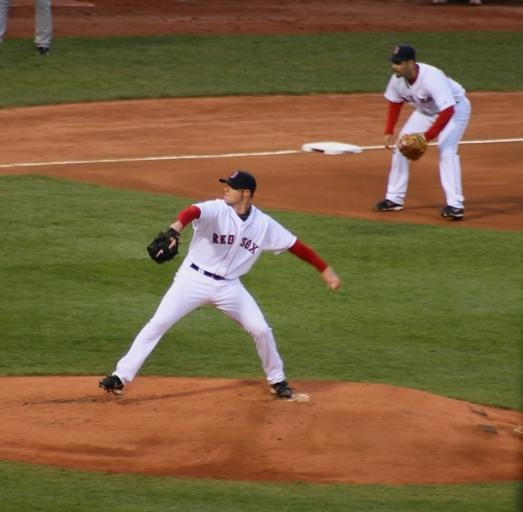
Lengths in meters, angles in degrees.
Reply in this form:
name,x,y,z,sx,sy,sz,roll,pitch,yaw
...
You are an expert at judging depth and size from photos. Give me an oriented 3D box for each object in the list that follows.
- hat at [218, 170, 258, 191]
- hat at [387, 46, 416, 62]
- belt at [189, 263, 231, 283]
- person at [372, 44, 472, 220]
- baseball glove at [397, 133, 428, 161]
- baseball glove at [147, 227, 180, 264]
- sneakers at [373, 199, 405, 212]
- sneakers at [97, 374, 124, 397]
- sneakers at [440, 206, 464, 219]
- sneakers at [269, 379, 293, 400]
name,x,y,z,sx,sy,sz,roll,pitch,yaw
hat,-0.179,-0.627,9.643,0.263,0.125,0.162,18,11,-18
hat,1.587,-2.314,13.268,0.286,0.130,0.187,1,23,-2
belt,-0.441,0.143,9.733,0.195,0.041,0.176,25,-2,-27
person,1.950,-1.439,13.841,1.055,2.224,1.097,3,26,4
baseball glove,1.741,-1.261,13.521,0.314,0.266,0.313,0,34,8
baseball glove,-0.742,-0.085,9.191,0.229,0.292,0.126,41,5,-2
sneakers,1.556,-0.641,14.549,0.383,0.156,0.136,9,18,-19
sneakers,-1.241,1.091,9.823,0.217,0.117,0.158,8,25,-50
sneakers,2.299,-0.534,14.153,0.127,0.118,0.281,9,11,-7
sneakers,0.188,1.151,10.042,0.234,0.130,0.113,9,21,35
